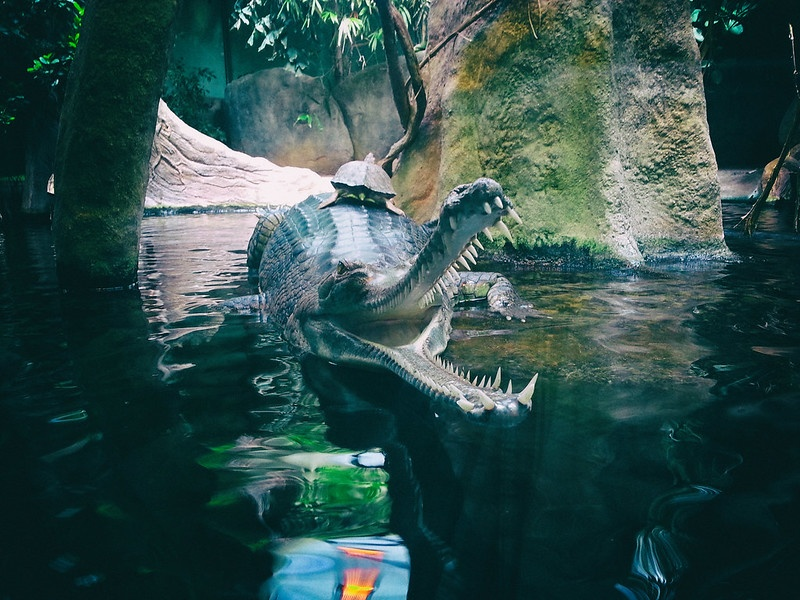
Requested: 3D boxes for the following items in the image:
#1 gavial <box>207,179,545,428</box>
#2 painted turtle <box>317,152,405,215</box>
[{"bbox_3d":[-0.337,-0.136,4.243,1.449,1.136,3.221,0,4,-15],"label":"gavial"},{"bbox_3d":[-0.426,-1.161,6.840,0.879,0.571,0.888,-1,8,-7],"label":"painted turtle"}]
